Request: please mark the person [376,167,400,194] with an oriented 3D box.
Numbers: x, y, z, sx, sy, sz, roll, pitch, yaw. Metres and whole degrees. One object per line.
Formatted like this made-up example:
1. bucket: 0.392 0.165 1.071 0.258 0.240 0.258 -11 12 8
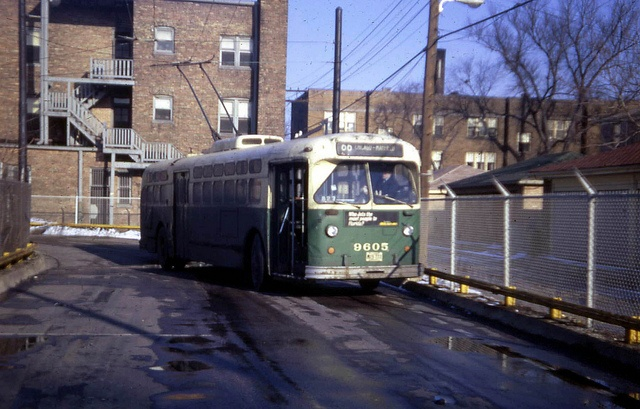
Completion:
1. person: 1.850 -0.613 18.088 0.621 0.745 0.191 -4 11 -29
